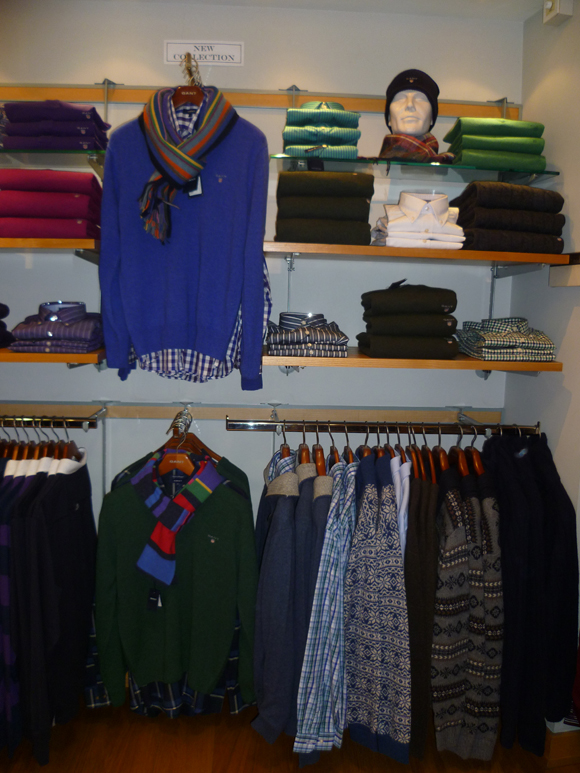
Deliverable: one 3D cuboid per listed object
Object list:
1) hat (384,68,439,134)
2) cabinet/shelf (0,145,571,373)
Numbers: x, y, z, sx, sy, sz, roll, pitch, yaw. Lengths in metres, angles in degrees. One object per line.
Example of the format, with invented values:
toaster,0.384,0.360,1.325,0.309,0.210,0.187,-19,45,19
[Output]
hat,0.433,-1.030,2.449,0.160,0.230,0.177,2,36,9
cabinet/shelf,-0.044,-0.417,2.363,1.940,0.732,0.488,-1,6,-4
